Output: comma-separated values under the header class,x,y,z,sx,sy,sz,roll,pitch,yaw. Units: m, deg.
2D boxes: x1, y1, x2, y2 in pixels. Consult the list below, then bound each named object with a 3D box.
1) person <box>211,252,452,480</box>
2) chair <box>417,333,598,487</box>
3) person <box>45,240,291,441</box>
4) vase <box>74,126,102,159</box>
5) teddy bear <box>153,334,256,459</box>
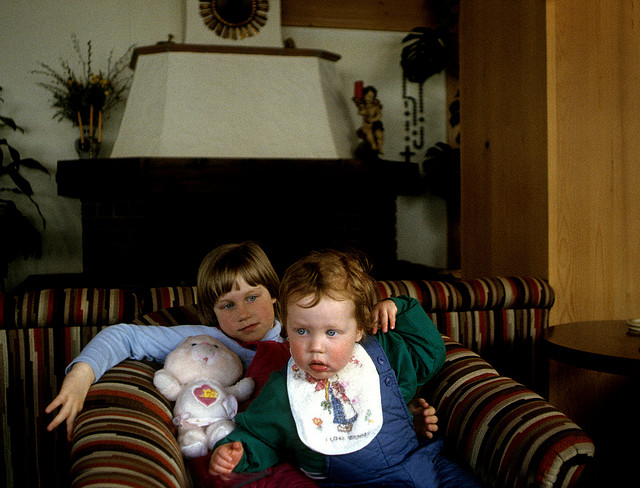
class,x,y,z,sx,sy,sz,roll,pitch,yaw
person,0.055,0.381,2.068,0.803,0.713,0.255,-1,1,-14
chair,0.608,0.547,2.167,0.185,0.244,0.569,-5,22,-20
person,-0.363,0.340,2.291,1.130,0.580,0.420,6,-2,-27
vase,-1.536,-0.669,4.231,0.150,0.237,0.130,-7,41,-25
teddy bear,-0.396,0.473,2.115,0.254,0.148,0.388,6,46,-12
